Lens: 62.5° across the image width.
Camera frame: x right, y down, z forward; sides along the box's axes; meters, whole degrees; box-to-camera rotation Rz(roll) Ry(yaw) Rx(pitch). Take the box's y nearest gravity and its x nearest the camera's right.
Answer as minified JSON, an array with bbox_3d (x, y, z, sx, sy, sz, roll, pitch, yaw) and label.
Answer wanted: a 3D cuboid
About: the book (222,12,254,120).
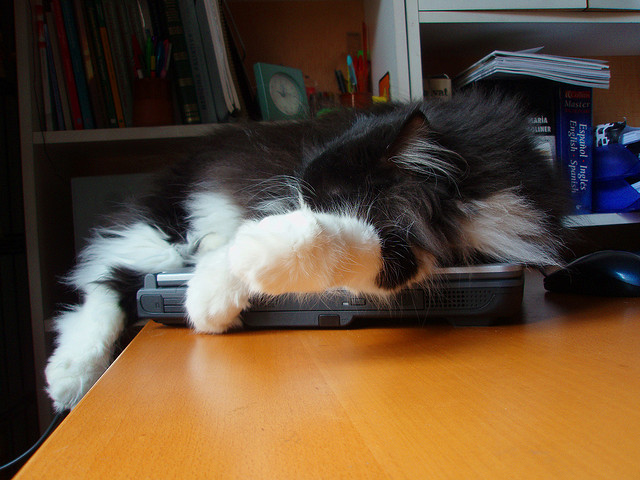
[{"bbox_3d":[-0.184,-0.411,1.240,0.012,0.239,0.027,-5,40,-26],"label":"book"}]

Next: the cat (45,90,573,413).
[{"bbox_3d":[-0.018,0.104,0.832,0.714,0.318,0.495,-4,25,22],"label":"cat"}]

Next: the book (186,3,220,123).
[{"bbox_3d":[-0.261,-0.400,1.216,0.045,0.192,0.197,-11,-2,-1],"label":"book"}]

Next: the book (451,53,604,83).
[{"bbox_3d":[0.449,-0.388,1.156,0.309,0.044,0.115,-5,10,4],"label":"book"}]

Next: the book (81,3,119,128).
[{"bbox_3d":[-0.487,-0.391,1.160,0.029,0.268,0.193,-15,25,-9],"label":"book"}]

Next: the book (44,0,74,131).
[{"bbox_3d":[-0.566,-0.391,1.143,0.027,0.179,0.239,-8,-17,-18],"label":"book"}]

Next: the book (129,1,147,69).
[{"bbox_3d":[-0.411,-0.478,1.213,0.026,0.199,0.016,0,-28,-22],"label":"book"}]

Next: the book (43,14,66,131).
[{"bbox_3d":[-0.575,-0.372,1.142,0.021,0.156,0.201,-6,-23,-15],"label":"book"}]
